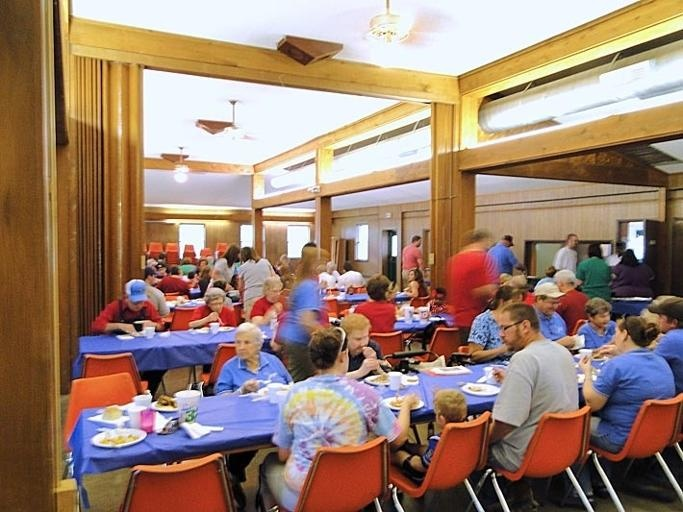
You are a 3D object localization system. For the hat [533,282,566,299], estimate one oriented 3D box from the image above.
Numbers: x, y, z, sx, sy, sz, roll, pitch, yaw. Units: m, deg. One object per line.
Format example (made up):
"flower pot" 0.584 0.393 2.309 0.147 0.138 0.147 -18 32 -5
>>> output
"hat" 1.728 0.293 4.708 0.179 0.093 0.137 1 4 15

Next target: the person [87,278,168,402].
"person" -2.003 0.917 5.498 0.817 1.351 0.659 5 8 19

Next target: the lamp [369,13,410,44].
"lamp" 0.469 -2.276 5.473 0.348 0.324 0.310 -1 4 -10

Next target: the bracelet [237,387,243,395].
"bracelet" -0.661 0.887 3.648 0.042 0.037 0.043 -5 -11 43

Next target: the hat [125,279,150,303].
"hat" -1.926 0.313 5.260 0.167 0.128 0.250 -7 30 -39

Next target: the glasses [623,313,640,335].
"glasses" 1.824 0.441 3.571 0.099 0.119 0.127 3 11 14

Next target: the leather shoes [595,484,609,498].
"leather shoes" 1.774 1.604 3.812 0.046 0.089 0.140 -1 0 43
